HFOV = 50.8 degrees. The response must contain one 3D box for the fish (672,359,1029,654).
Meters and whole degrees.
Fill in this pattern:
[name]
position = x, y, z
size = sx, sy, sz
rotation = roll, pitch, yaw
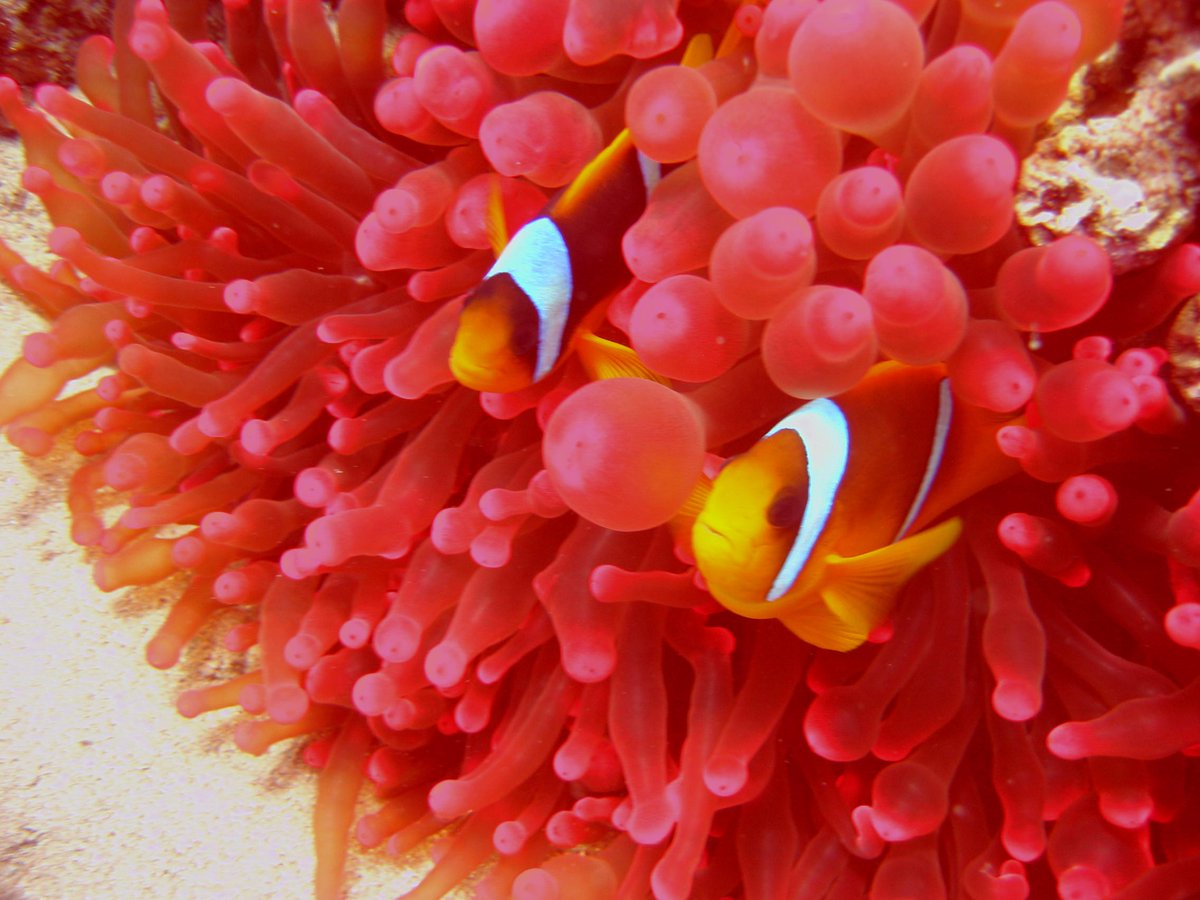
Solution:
[fish]
position = 0.235, 0.013, 1.343
size = 0.420, 0.263, 0.179
rotation = -30, 37, -18
